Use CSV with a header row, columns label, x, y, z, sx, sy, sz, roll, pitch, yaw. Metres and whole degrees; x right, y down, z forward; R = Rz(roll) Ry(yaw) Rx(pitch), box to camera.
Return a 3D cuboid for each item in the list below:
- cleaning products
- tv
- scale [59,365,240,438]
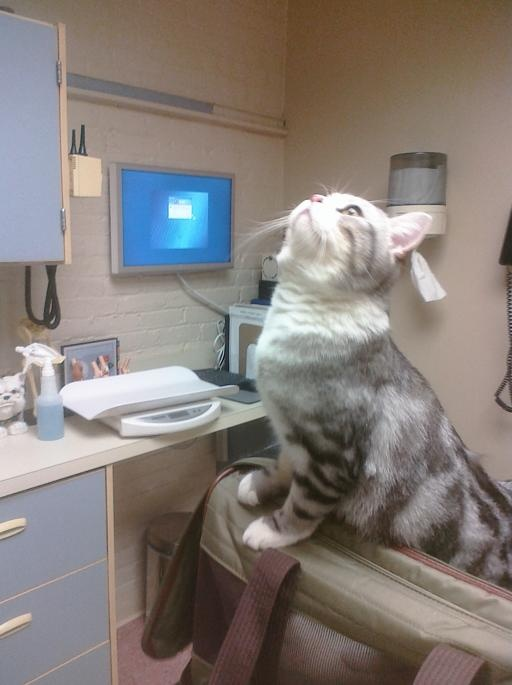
label,x,y,z,sx,sy,sz,roll,pitch,yaw
cleaning products,-0.453,0.112,1.208,0.115,0.228,0.097,4,8,27
tv,-0.217,-0.348,1.549,0.035,0.291,0.403,10,18,36
scale,-0.337,0.068,1.444,0.394,0.130,0.490,14,17,41
